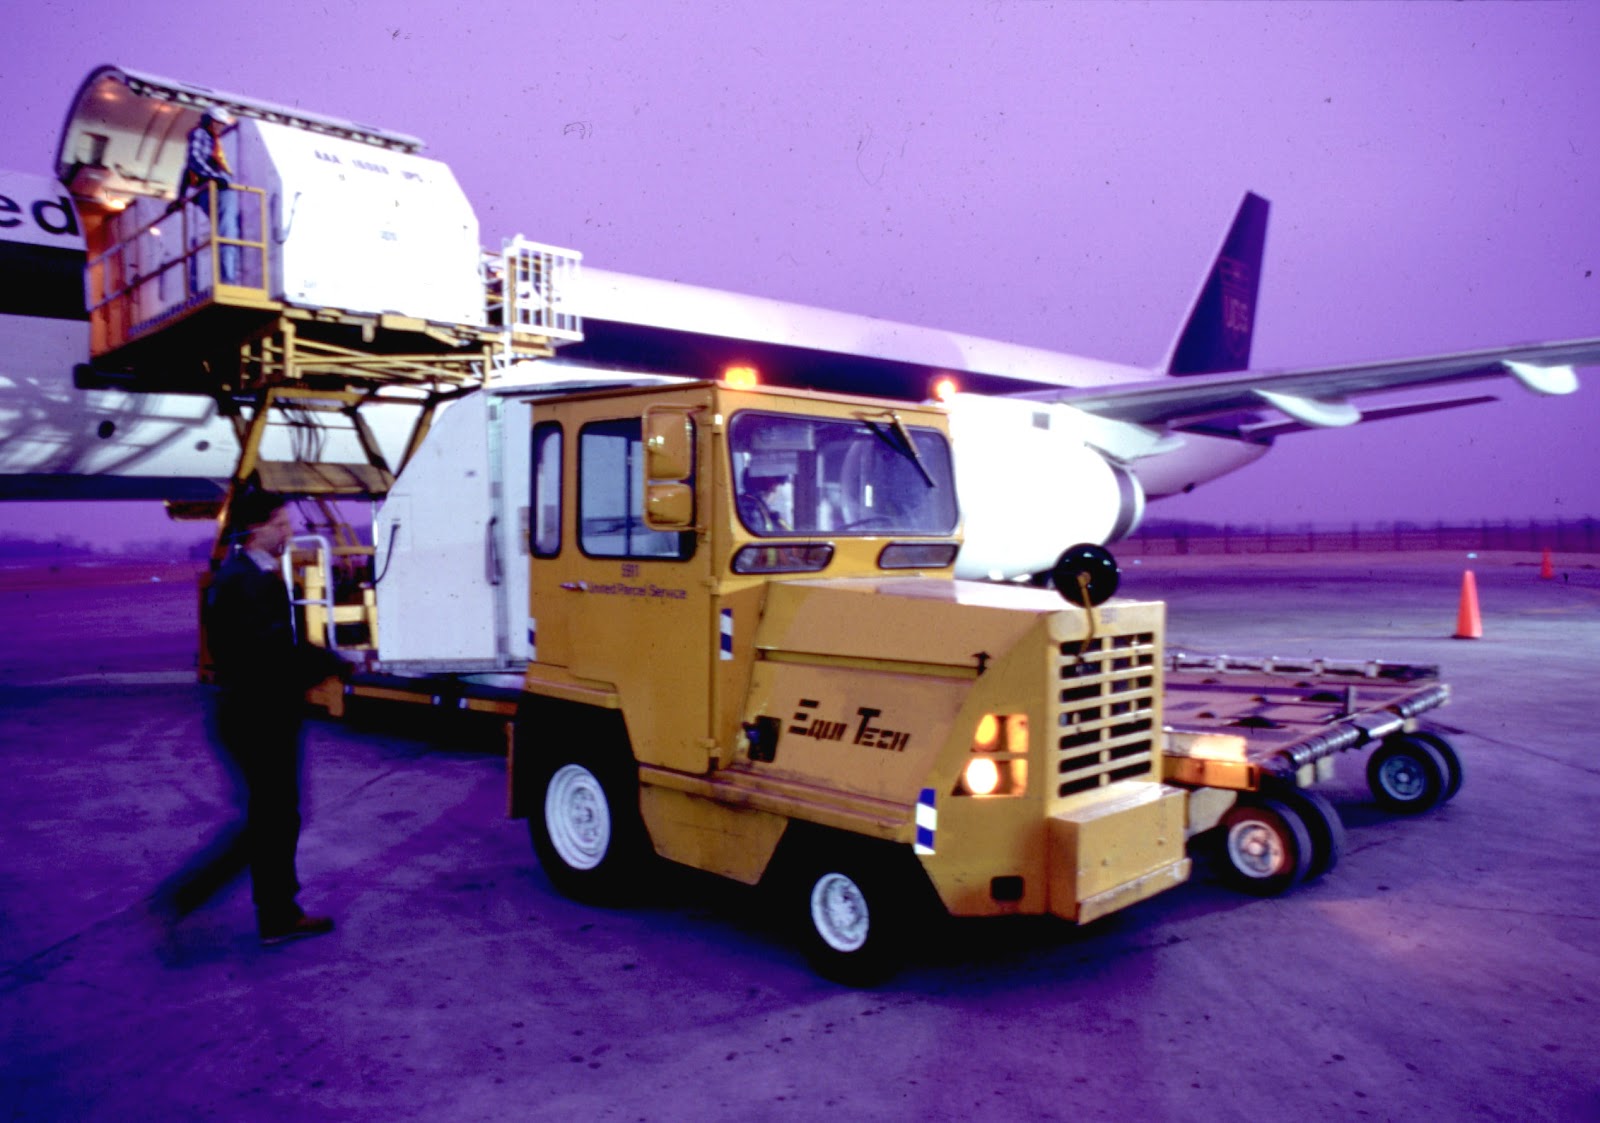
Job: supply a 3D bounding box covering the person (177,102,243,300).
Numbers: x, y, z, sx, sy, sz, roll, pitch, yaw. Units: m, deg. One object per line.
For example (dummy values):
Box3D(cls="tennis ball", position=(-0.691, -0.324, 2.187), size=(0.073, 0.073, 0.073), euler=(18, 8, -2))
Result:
Box3D(cls="person", position=(-5.711, -3.512, 12.293), size=(0.536, 1.898, 1.168), euler=(0, 6, -26))
